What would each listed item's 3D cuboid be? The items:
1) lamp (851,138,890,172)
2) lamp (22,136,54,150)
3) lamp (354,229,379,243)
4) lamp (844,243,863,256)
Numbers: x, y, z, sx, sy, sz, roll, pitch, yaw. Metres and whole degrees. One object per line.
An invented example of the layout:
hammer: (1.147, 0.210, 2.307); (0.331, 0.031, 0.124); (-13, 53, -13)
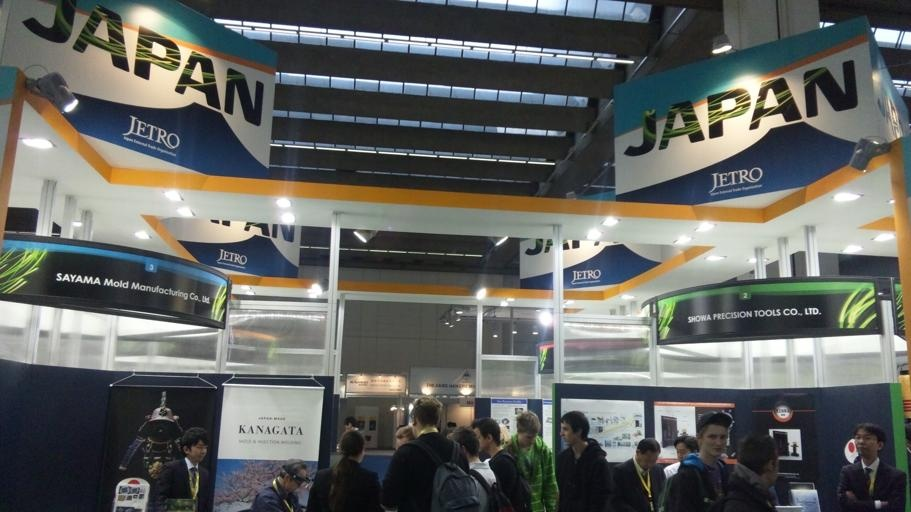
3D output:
lamp: (5.689, -1.409, 10.831); (0.539, 0.466, 0.394); (12, 9, 7)
lamp: (-6.041, -1.618, 11.159); (0.451, 0.077, 0.285); (-4, -17, 10)
lamp: (-2.359, -0.549, 20.279); (0.569, 0.135, 0.603); (5, -16, 25)
lamp: (7.210, -0.117, 13.967); (0.236, 0.061, 0.268); (1, -15, 9)
